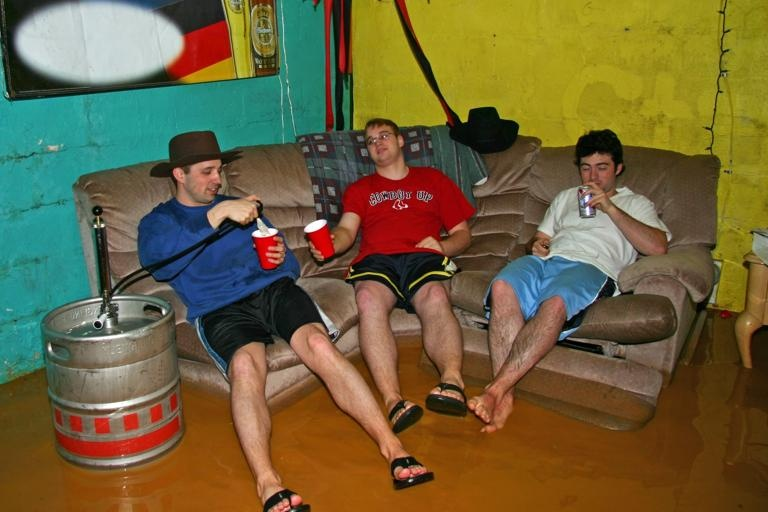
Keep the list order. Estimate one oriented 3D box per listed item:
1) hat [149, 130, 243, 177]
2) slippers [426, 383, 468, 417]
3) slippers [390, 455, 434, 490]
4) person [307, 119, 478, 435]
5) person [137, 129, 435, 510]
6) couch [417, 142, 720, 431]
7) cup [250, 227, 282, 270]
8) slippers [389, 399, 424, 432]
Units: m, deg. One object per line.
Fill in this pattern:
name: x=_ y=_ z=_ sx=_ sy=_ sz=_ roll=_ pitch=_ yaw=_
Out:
hat: x=-1.064 y=-0.580 z=3.157 sx=0.519 sy=0.177 sz=0.451 roll=-14 pitch=7 yaw=-37
slippers: x=0.316 y=0.677 z=2.891 sx=0.154 sy=0.088 sz=0.279 roll=12 pitch=3 yaw=11
slippers: x=0.127 y=1.024 z=2.657 sx=0.187 sy=0.181 sz=0.099 roll=-6 pitch=17 yaw=-7
person: x=0.046 y=-0.007 z=3.371 sx=1.078 sy=0.798 sz=1.954 roll=-1 pitch=42 yaw=-2
person: x=-0.540 y=0.090 z=3.127 sx=1.023 sy=1.142 sz=2.396 roll=-16 pitch=47 yaw=-37
couch: x=1.330 y=0.259 z=3.750 sx=1.646 sy=1.236 sz=1.877 roll=11 pitch=33 yaw=29
cup: x=-0.602 y=-0.027 z=2.946 sx=0.119 sy=0.240 sz=0.131 roll=-4 pitch=16 yaw=1
slippers: x=0.093 y=0.778 z=2.789 sx=0.109 sy=0.192 sz=0.066 roll=-17 pitch=66 yaw=-36
